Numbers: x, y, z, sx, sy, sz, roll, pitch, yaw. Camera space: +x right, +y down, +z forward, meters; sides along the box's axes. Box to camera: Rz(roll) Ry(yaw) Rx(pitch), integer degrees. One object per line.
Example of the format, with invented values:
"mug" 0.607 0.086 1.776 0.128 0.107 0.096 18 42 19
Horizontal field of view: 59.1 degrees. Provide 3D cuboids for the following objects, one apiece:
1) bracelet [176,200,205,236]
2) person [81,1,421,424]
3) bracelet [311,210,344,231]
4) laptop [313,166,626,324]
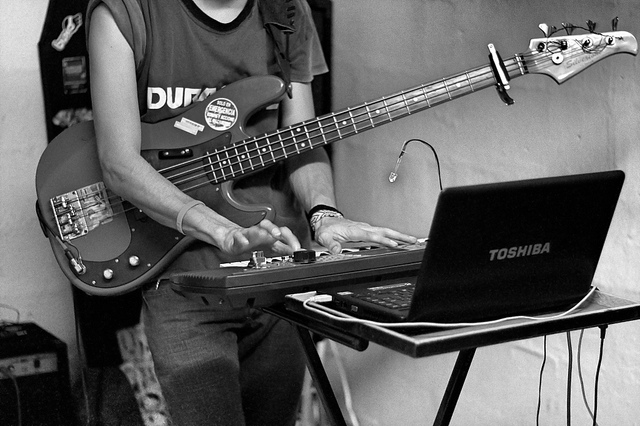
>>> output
"bracelet" -0.363 0.018 1.565 0.018 0.079 0.074 27 0 7
"person" -0.268 0.134 1.757 0.779 1.474 0.848 -10 22 -23
"bracelet" 0.014 0.015 1.722 0.069 0.071 0.028 -8 49 -2
"laptop" 0.296 0.067 1.030 0.450 0.271 0.462 1 -7 -38
